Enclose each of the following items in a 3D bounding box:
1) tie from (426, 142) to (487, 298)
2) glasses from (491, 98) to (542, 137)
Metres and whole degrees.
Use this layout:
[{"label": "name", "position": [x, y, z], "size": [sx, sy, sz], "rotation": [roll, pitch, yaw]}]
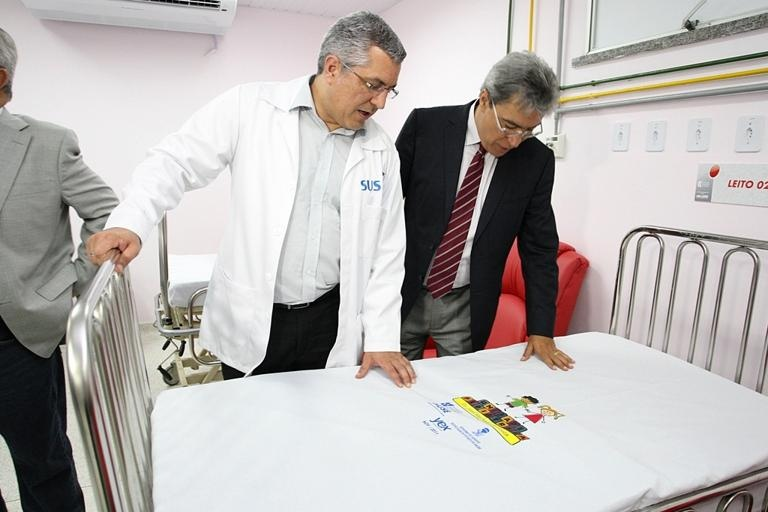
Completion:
[{"label": "tie", "position": [0.351, -0.142, 2.421], "size": [0.185, 0.788, 0.052], "rotation": [17, 8, 2]}, {"label": "glasses", "position": [0.567, -0.587, 2.178], "size": [0.194, 0.145, 0.083], "rotation": [2, 11, -11]}]
